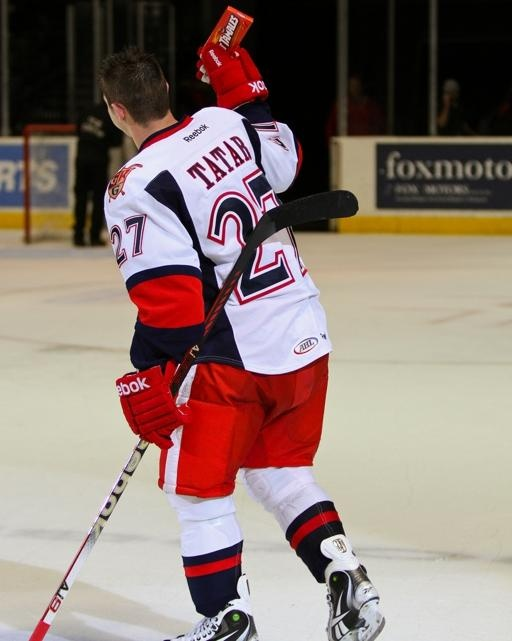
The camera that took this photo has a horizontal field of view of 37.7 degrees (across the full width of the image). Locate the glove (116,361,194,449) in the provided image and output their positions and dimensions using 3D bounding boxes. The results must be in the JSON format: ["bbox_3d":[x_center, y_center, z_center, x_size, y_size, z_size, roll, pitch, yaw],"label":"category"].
[{"bbox_3d":[-0.165,0.130,1.288,0.067,0.148,0.128,-21,-13,-42],"label":"glove"}]
